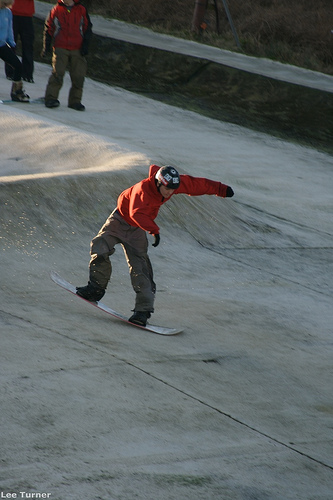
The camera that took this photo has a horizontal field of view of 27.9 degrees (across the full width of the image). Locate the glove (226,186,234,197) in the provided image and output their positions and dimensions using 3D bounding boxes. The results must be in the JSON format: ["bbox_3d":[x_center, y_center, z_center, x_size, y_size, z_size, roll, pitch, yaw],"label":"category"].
[{"bbox_3d":[0.481,-0.432,4.931,0.052,0.071,0.018,4,9,-5],"label":"glove"}]

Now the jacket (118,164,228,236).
[{"bbox_3d":[0.061,-0.354,4.737,0.719,0.448,0.515,7,15,-15],"label":"jacket"}]
